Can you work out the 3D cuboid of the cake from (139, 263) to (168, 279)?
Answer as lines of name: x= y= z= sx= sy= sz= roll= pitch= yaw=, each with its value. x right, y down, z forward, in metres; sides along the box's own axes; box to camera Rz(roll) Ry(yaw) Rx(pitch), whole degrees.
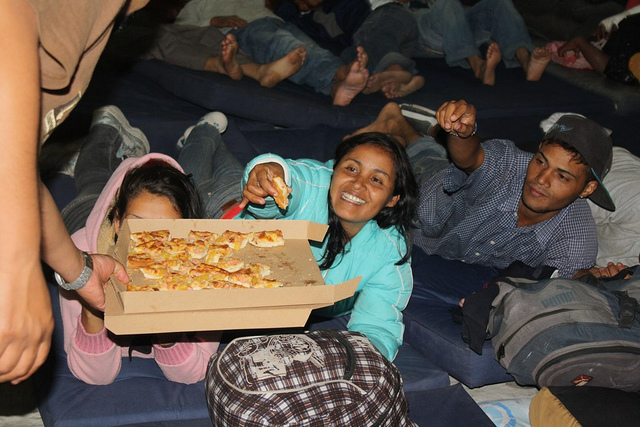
cake: x=-0.557 y=0.183 z=1.597 sx=0.066 sy=0.020 sz=0.044 roll=-3 pitch=41 yaw=-17

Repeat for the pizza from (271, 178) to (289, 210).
pizza: x=-0.144 y=-0.078 z=1.755 sx=0.061 sy=0.085 sz=0.106 roll=7 pitch=27 yaw=-13

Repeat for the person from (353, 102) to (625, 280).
person: x=0.993 y=-0.158 z=2.715 sx=0.946 sy=0.658 sz=1.212 roll=4 pitch=29 yaw=-1

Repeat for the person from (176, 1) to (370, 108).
person: x=-0.368 y=-1.182 z=3.595 sx=1.467 sy=0.428 sz=0.570 roll=32 pitch=27 yaw=12

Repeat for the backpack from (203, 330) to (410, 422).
backpack: x=-0.033 y=0.578 z=1.640 sx=0.677 sy=0.271 sz=0.326 roll=5 pitch=27 yaw=-15

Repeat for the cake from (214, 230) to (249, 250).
cake: x=-0.317 y=0.088 z=1.788 sx=0.087 sy=0.027 sz=0.080 roll=17 pitch=40 yaw=0

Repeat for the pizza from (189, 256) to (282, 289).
pizza: x=-0.290 y=0.198 z=1.667 sx=0.187 sy=0.026 sz=0.134 roll=7 pitch=13 yaw=3

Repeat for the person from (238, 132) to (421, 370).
person: x=0.050 y=0.171 z=1.885 sx=0.995 sy=0.670 sz=0.506 roll=-10 pitch=74 yaw=-29

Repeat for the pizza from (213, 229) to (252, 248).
pizza: x=-0.329 y=0.097 z=1.800 sx=0.085 sy=0.024 sz=0.078 roll=13 pitch=45 yaw=7

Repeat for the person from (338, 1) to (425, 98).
person: x=0.494 y=-1.289 z=3.788 sx=0.686 sy=0.439 sz=1.021 roll=-10 pitch=28 yaw=15

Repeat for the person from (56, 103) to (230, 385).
person: x=-0.839 y=-0.021 z=2.327 sx=0.724 sy=0.602 sz=1.527 roll=9 pitch=35 yaw=-19

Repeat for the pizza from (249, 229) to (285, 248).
pizza: x=-0.198 y=0.091 z=1.797 sx=0.106 sy=0.035 sz=0.066 roll=-4 pitch=44 yaw=-2

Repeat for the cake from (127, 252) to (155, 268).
cake: x=-0.612 y=0.152 z=1.648 sx=0.067 sy=0.018 sz=0.062 roll=-1 pitch=28 yaw=-26

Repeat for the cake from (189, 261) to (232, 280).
cake: x=-0.380 y=0.198 z=1.659 sx=0.127 sy=0.030 sz=0.090 roll=27 pitch=29 yaw=28
